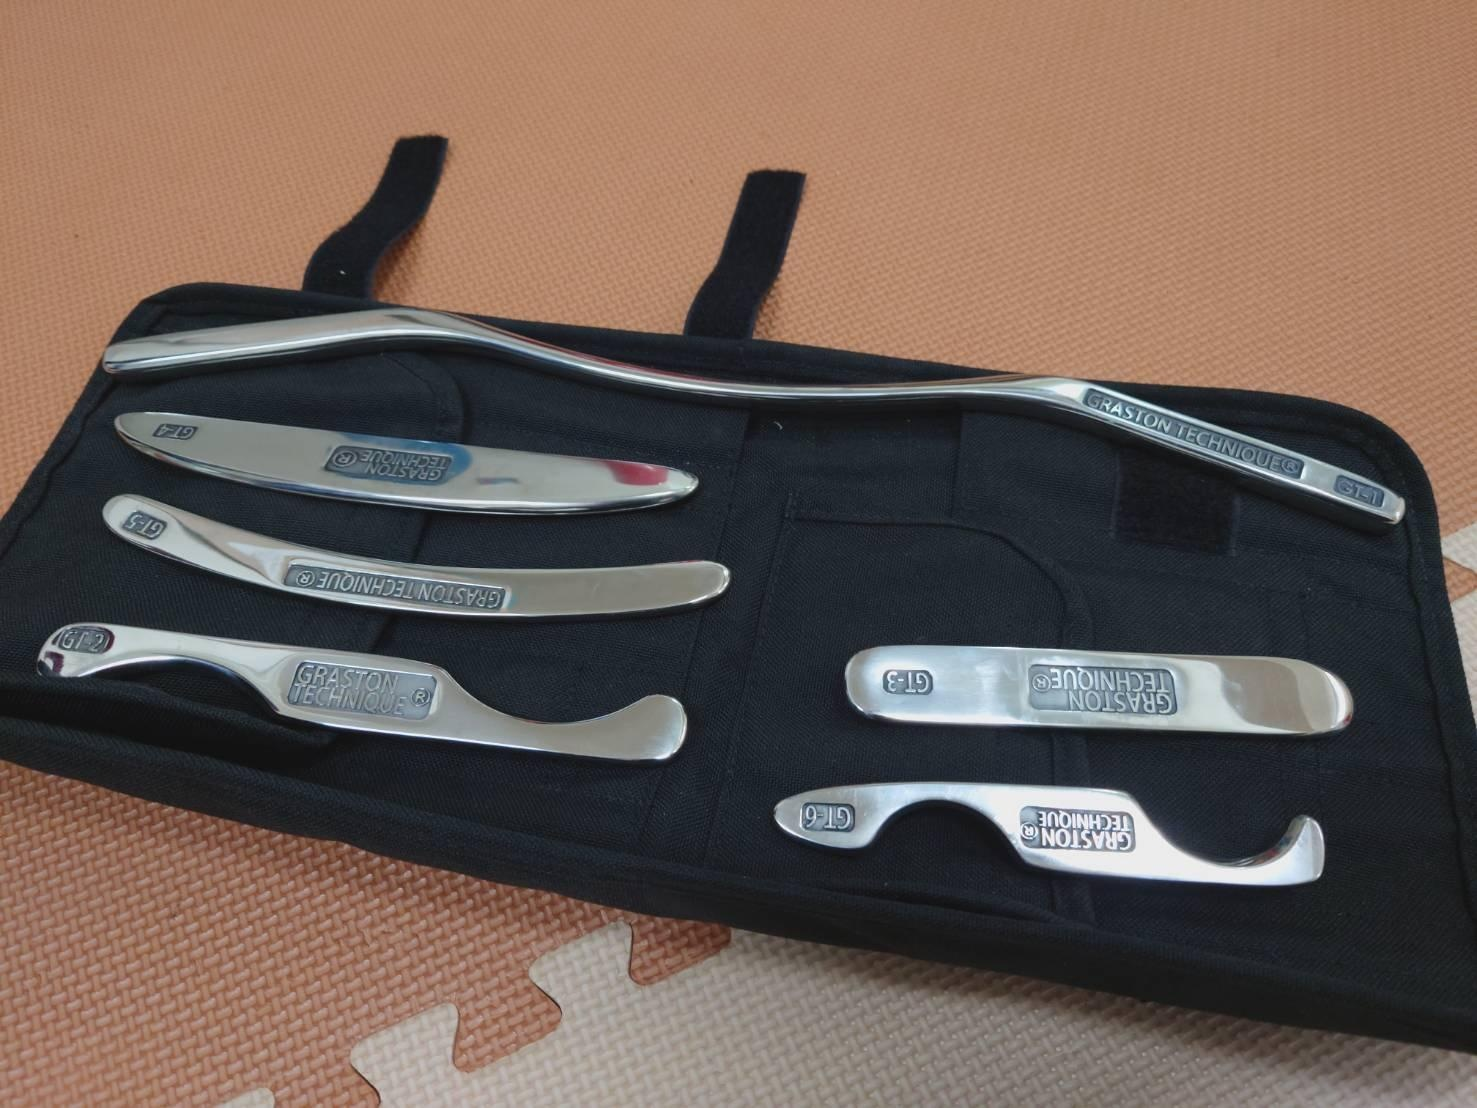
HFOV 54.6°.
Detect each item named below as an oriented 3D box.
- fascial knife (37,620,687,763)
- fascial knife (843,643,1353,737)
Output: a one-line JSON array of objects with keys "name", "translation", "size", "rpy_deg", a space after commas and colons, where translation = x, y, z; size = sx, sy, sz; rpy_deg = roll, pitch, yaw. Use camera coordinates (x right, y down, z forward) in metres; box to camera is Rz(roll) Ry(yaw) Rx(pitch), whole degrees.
[{"name": "fascial knife", "translation": [-0.312, 0.108, 1.170], "size": [0.584, 0.009, 0.060], "rpy_deg": [8, 70, 19]}, {"name": "fascial knife", "translation": [0.286, 0.110, 1.144], "size": [0.396, 0.055, 0.058], "rpy_deg": [3, 35, 1]}]
